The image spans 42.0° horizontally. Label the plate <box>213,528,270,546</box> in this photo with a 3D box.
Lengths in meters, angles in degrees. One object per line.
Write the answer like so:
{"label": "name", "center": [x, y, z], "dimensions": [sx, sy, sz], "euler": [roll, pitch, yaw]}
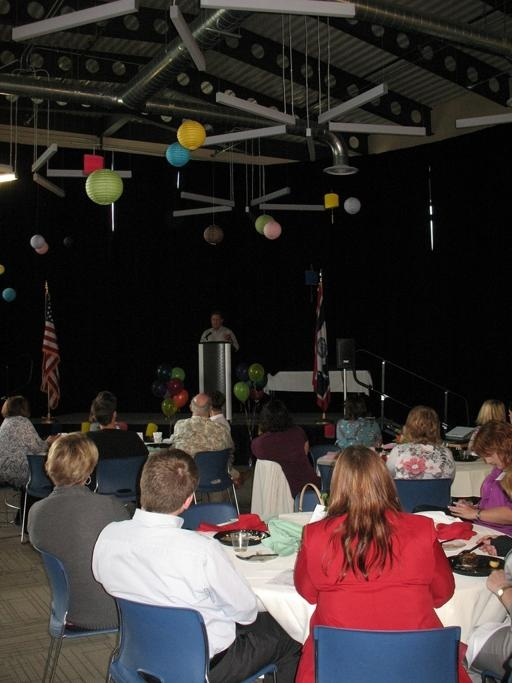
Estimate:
{"label": "plate", "center": [-0.060, 0.802, 2.755], "dimensions": [0.123, 0.024, 0.119], "euler": [2, -4, -24]}

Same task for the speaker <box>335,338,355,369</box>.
{"label": "speaker", "center": [1.164, 0.177, 8.692], "dimensions": [0.203, 0.387, 0.161], "euler": [0, 2, 1]}

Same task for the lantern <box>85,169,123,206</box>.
{"label": "lantern", "center": [-1.259, -1.301, 5.557], "dimensions": [0.270, 0.292, 0.265], "euler": [0, 2, -7]}

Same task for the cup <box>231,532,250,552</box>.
{"label": "cup", "center": [-0.053, 0.779, 2.609], "dimensions": [0.074, 0.057, 0.077], "euler": [1, -5, 0]}

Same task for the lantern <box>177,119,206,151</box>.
{"label": "lantern", "center": [-0.525, -1.673, 5.439], "dimensions": [0.281, 0.291, 0.256], "euler": [-2, 11, -8]}

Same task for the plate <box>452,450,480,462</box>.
{"label": "plate", "center": [1.566, 0.865, 5.012], "dimensions": [0.107, 0.040, 0.124], "euler": [0, -1, -7]}

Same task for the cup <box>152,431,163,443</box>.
{"label": "cup", "center": [-0.873, 0.849, 5.852], "dimensions": [0.091, 0.094, 0.097], "euler": [0, -6, 0]}
